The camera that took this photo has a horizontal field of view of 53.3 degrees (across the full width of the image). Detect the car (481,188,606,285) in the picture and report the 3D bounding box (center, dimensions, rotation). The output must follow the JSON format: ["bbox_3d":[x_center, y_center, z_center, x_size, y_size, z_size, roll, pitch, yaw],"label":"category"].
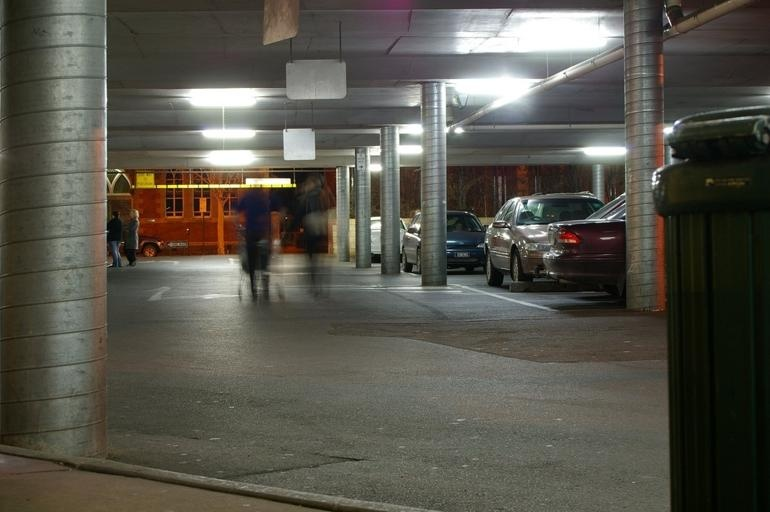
[{"bbox_3d":[3.437,-0.512,17.920,1.511,1.206,3.147,0,-2,-9],"label":"car"}]

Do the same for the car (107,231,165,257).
[{"bbox_3d":[-12.848,-0.604,39.625,2.764,1.153,1.528,-2,1,-8],"label":"car"}]
